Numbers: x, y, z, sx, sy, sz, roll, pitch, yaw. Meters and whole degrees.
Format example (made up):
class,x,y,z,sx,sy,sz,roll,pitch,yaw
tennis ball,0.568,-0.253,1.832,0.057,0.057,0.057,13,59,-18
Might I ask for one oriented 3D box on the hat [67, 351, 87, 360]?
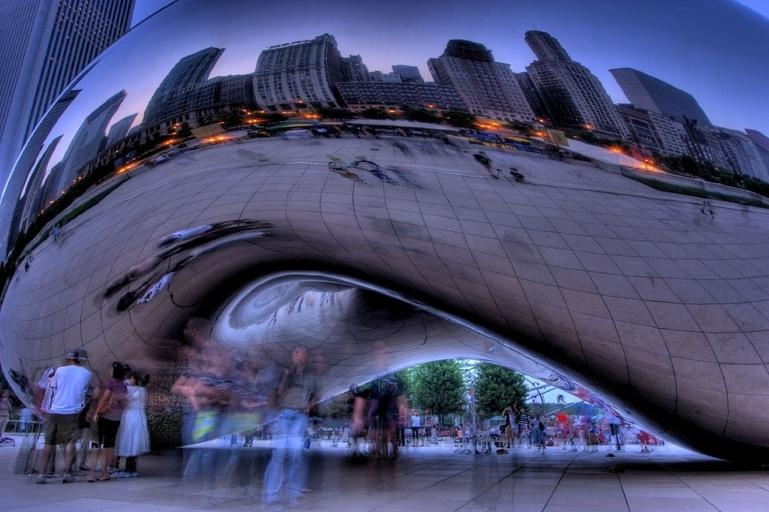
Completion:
class,x,y,z,sx,sy,sz,roll,pitch,yaw
hat,-4.690,1.543,5.670,0.373,0.148,0.191,-20,-25,37
